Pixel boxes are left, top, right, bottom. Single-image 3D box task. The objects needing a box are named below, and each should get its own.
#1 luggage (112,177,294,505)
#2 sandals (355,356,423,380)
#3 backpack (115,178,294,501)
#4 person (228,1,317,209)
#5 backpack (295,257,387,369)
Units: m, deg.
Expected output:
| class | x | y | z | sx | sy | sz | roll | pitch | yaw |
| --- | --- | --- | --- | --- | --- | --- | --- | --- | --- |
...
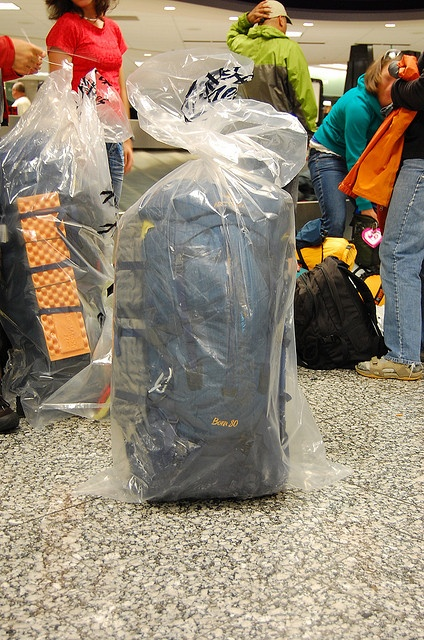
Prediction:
| class | x | y | z | sx | sy | sz | roll | pitch | yaw |
| --- | --- | --- | --- | --- | --- | --- | --- | --- | --- |
| luggage | -0.019 | 0.027 | 0.954 | 0.343 | 0.530 | 0.290 | -2 | 8 | -31 |
| sandals | 0.594 | 0.158 | 1.724 | 0.178 | 0.065 | 0.082 | 6 | 4 | 11 |
| backpack | -0.032 | 0.054 | 0.881 | 0.314 | 0.545 | 0.170 | 1 | 9 | 8 |
| person | 0.262 | -0.938 | 2.186 | 0.401 | 0.886 | 0.690 | 0 | 9 | 2 |
| backpack | 0.448 | -0.012 | 2.025 | 0.361 | 0.435 | 0.382 | -9 | 9 | 17 |
